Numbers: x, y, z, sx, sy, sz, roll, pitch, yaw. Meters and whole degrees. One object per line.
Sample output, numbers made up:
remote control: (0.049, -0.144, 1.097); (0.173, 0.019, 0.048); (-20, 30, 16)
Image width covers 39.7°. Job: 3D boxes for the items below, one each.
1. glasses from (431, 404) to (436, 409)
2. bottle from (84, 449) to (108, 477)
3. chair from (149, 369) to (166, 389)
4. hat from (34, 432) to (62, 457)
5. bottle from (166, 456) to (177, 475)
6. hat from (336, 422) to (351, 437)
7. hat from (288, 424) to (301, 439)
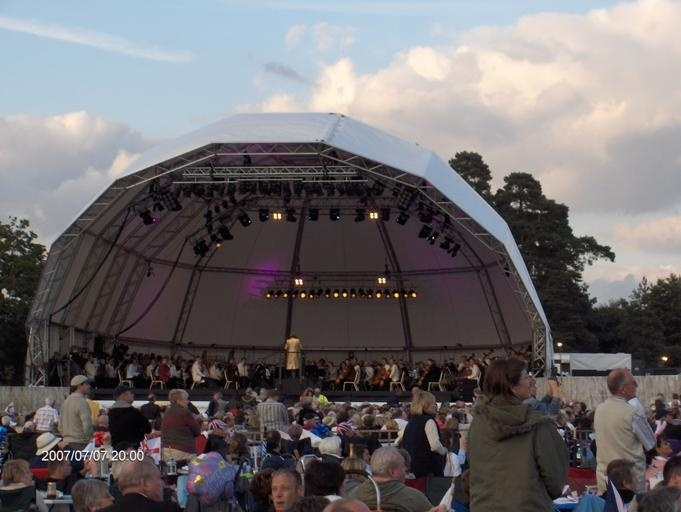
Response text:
glasses: (1.284, 2.054, 12.894); (0.059, 0.066, 0.070); (-8, -28, 4)
bottle: (-3.229, 2.774, 12.621); (0.421, 0.395, 0.378); (2, -16, -10)
chair: (-5.750, 3.899, 29.423); (0.526, 0.652, 0.453); (-1, -2, 19)
hat: (-4.183, 2.662, 13.438); (0.384, 0.123, 0.398); (-22, 8, 6)
bottle: (-2.285, 2.868, 12.855); (0.197, 0.195, 0.178); (-1, 0, 3)
hat: (0.066, 2.783, 15.162); (0.236, 0.130, 0.259); (-6, -3, 2)
hat: (-0.665, 2.594, 14.088); (0.190, 0.207, 0.200); (3, -51, 0)
